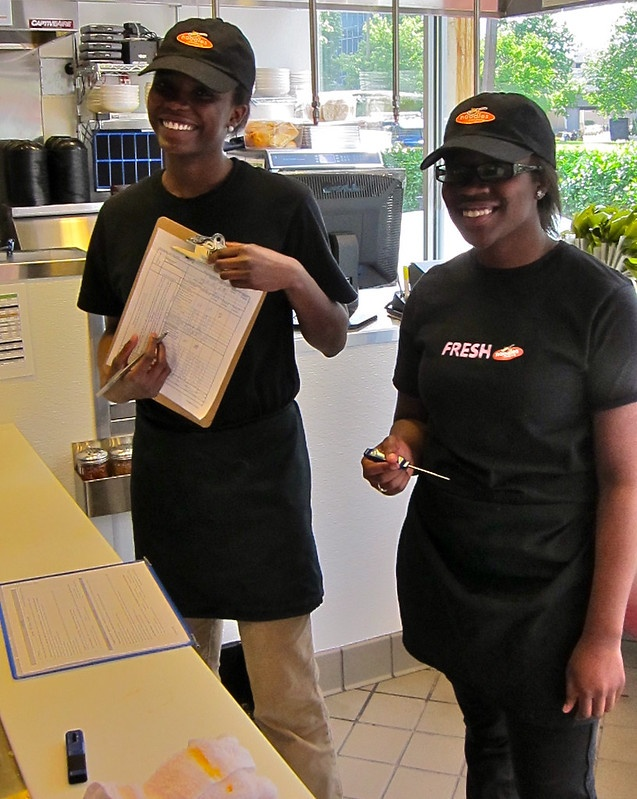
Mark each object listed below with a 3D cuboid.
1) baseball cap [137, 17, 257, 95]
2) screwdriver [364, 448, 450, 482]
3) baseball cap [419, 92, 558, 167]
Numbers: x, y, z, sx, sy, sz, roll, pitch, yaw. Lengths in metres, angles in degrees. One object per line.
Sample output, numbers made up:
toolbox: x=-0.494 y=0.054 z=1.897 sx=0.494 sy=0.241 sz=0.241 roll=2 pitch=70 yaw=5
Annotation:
baseball cap: x=-0.199 y=-0.611 z=1.196 sx=0.172 sy=0.106 sz=0.215 roll=22 pitch=33 yaw=9
screwdriver: x=0.154 y=0.113 z=1.198 sx=0.166 sy=0.022 sz=0.031 roll=17 pitch=0 yaw=17
baseball cap: x=0.269 y=-0.412 z=1.085 sx=0.200 sy=0.081 sz=0.141 roll=-11 pitch=15 yaw=-42
